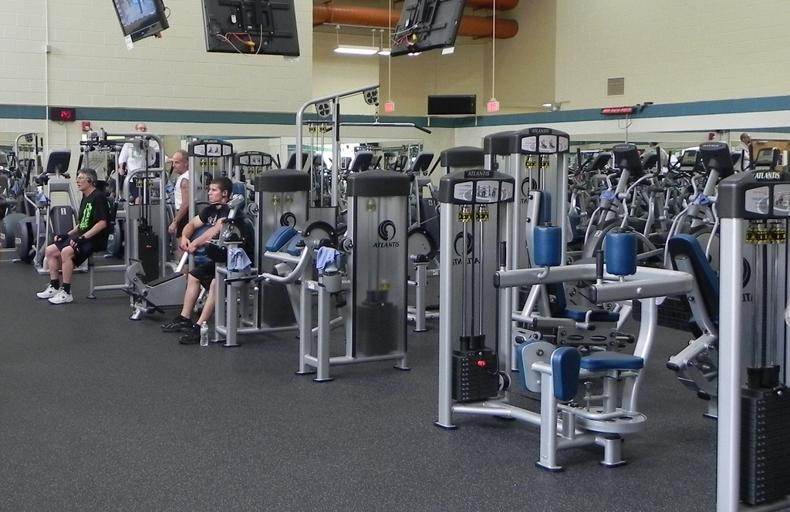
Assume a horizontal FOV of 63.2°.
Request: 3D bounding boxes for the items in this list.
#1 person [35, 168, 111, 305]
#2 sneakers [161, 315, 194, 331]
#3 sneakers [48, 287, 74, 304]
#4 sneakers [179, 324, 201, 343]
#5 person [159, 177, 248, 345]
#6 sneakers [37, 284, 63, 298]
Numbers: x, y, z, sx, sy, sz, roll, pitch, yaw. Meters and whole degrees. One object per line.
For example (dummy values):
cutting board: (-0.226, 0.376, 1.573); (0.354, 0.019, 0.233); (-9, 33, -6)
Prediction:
person: (-3.990, -0.261, 7.943); (0.903, 1.630, 0.724); (7, 12, 34)
sneakers: (-2.218, 0.686, 6.585); (0.324, 0.146, 0.135); (2, 1, -5)
sneakers: (-4.082, 0.501, 7.915); (0.357, 0.159, 0.131); (1, 0, -40)
sneakers: (-1.997, 0.750, 6.237); (0.197, 0.160, 0.216); (-3, 10, -19)
person: (-1.947, 0.000, 6.584); (0.902, 1.587, 1.325); (-4, 11, -25)
sneakers: (-4.293, 0.439, 8.027); (0.455, 0.194, 0.163); (1, 3, 18)
